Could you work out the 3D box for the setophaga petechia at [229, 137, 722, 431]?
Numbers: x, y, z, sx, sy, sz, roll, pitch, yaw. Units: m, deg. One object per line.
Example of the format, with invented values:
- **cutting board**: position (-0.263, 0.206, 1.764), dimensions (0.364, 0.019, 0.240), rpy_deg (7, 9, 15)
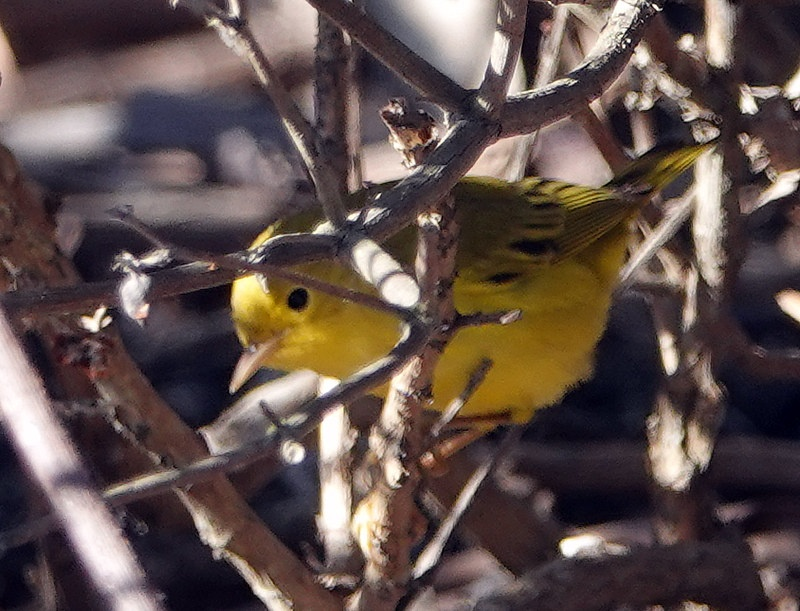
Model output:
- **setophaga petechia**: position (0.152, -0.053, 1.686), dimensions (0.823, 0.364, 0.270), rpy_deg (-24, 21, -28)
